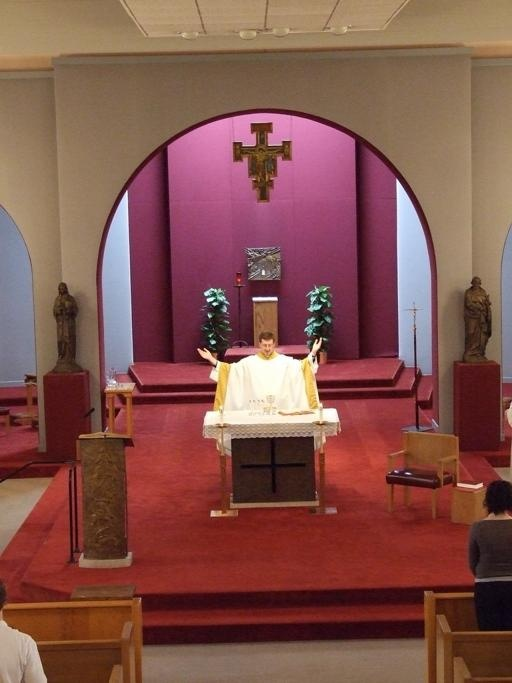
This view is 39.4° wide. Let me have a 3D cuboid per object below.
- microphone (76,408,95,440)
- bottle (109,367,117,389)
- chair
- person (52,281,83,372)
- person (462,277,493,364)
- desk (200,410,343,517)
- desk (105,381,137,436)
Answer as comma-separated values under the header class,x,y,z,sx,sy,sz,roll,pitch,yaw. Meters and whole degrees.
class,x,y,z,sx,sy,sz,roll,pitch,yaw
microphone,-1.809,0.844,7.560,0.210,0.287,0.479,-4,4,-13
bottle,-1.580,0.389,7.860,0.079,0.188,0.228,-4,4,-11
chair,1.281,1.019,5.508,0.473,0.575,0.397,0,1,39
person,-2.050,-0.157,7.637,0.289,0.946,0.359,-4,5,-8
person,2.305,-0.230,7.447,0.283,0.869,0.271,-2,5,19
desk,0.138,0.928,5.585,1.060,0.723,0.602,-2,0,2
desk,-1.502,0.769,7.886,0.354,0.474,0.321,-2,-1,10
